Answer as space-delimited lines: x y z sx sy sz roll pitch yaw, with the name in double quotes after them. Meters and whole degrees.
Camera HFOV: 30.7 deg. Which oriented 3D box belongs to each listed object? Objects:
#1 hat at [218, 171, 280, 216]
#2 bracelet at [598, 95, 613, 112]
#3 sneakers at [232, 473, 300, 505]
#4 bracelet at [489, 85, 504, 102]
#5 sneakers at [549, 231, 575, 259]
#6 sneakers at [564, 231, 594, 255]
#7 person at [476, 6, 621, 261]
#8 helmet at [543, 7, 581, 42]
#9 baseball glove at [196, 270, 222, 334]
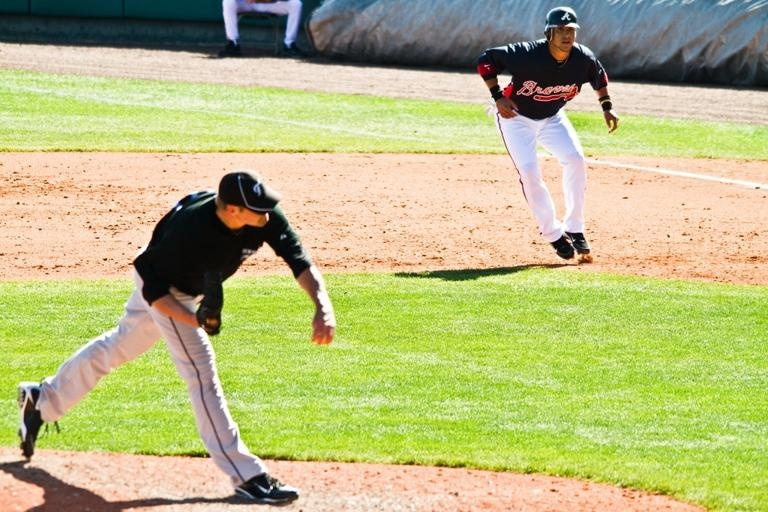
-1.292 -0.635 13.181 0.542 0.257 0.342 11 33 -9 "hat"
2.801 -1.943 17.622 0.167 0.215 0.102 -13 -19 -5 "bracelet"
-1.094 2.178 13.396 0.723 0.266 0.246 3 6 2 "sneakers"
1.373 -2.005 17.098 0.179 0.207 0.200 2 12 4 "bracelet"
2.224 -0.130 17.310 0.155 0.432 0.171 -45 -8 -1 "sneakers"
2.415 -0.187 17.328 0.164 0.412 0.173 -34 -14 -38 "sneakers"
1.948 -1.496 17.178 1.416 3.061 0.507 3 13 4 "person"
2.124 -2.848 16.922 0.532 0.293 0.628 -1 3 -14 "helmet"
-1.635 0.423 13.159 0.286 0.497 0.200 13 18 17 "baseball glove"
